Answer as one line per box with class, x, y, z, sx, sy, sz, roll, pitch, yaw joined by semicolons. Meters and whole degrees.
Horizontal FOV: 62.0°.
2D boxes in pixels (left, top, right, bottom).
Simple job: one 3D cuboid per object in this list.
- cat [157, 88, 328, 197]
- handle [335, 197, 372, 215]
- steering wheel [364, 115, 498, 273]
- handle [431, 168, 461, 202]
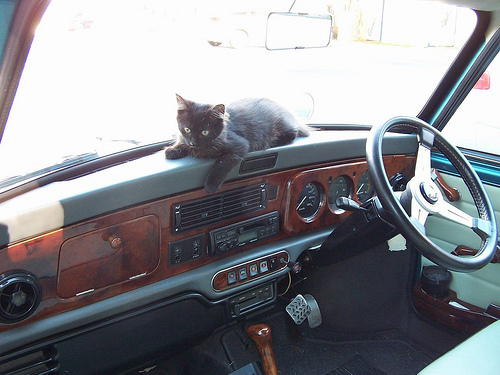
cat;-0.030;-0.425;2.686;0.586;0.540;0.984;18;41;37
handle;0.592;0.103;2.417;0.203;0.043;0.061;21;29;-31
steering wheel;1.103;0.024;2.493;0.925;0.190;1.046;9;59;-28
handle;1.271;-0.015;2.692;0.058;0.072;0.238;-7;52;-27
